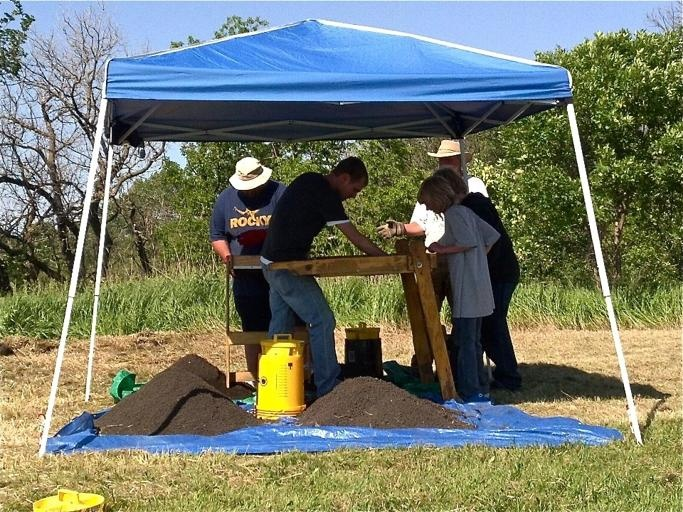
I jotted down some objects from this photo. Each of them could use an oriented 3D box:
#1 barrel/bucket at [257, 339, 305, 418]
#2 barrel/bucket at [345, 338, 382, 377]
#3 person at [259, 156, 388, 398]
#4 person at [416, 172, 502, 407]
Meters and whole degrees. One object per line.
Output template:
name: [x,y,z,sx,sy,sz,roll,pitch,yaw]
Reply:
barrel/bucket: [-0.628,1.240,7.670,0.489,0.829,0.519,0,2,0]
barrel/bucket: [0.309,1.211,8.878,0.400,0.455,0.390,-6,-2,0]
person: [-0.234,0.231,7.783,1.168,2.418,0.561,-5,-5,3]
person: [1.313,0.331,8.031,0.757,2.423,0.489,0,-6,-40]
